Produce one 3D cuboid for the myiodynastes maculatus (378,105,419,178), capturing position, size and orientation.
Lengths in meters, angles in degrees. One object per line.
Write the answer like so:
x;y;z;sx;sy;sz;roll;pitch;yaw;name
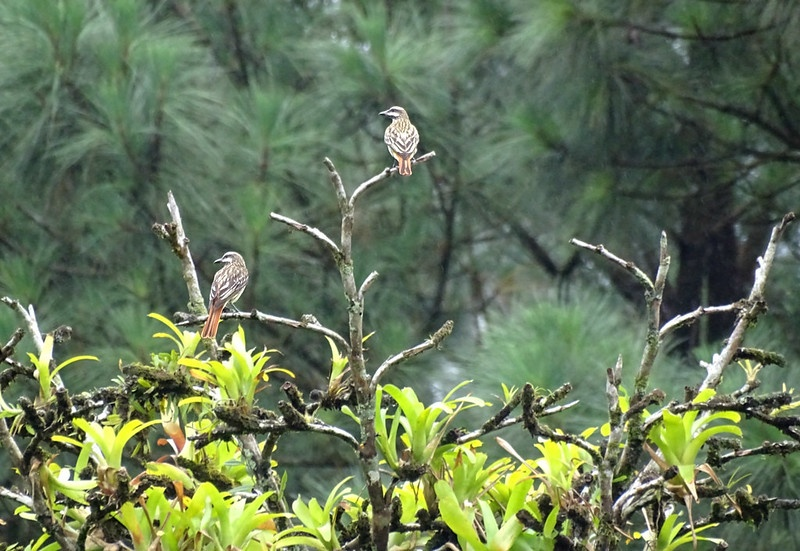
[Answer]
-0.047;-0.662;7.325;0.153;0.261;0.432;-5;33;-5;myiodynastes maculatus
